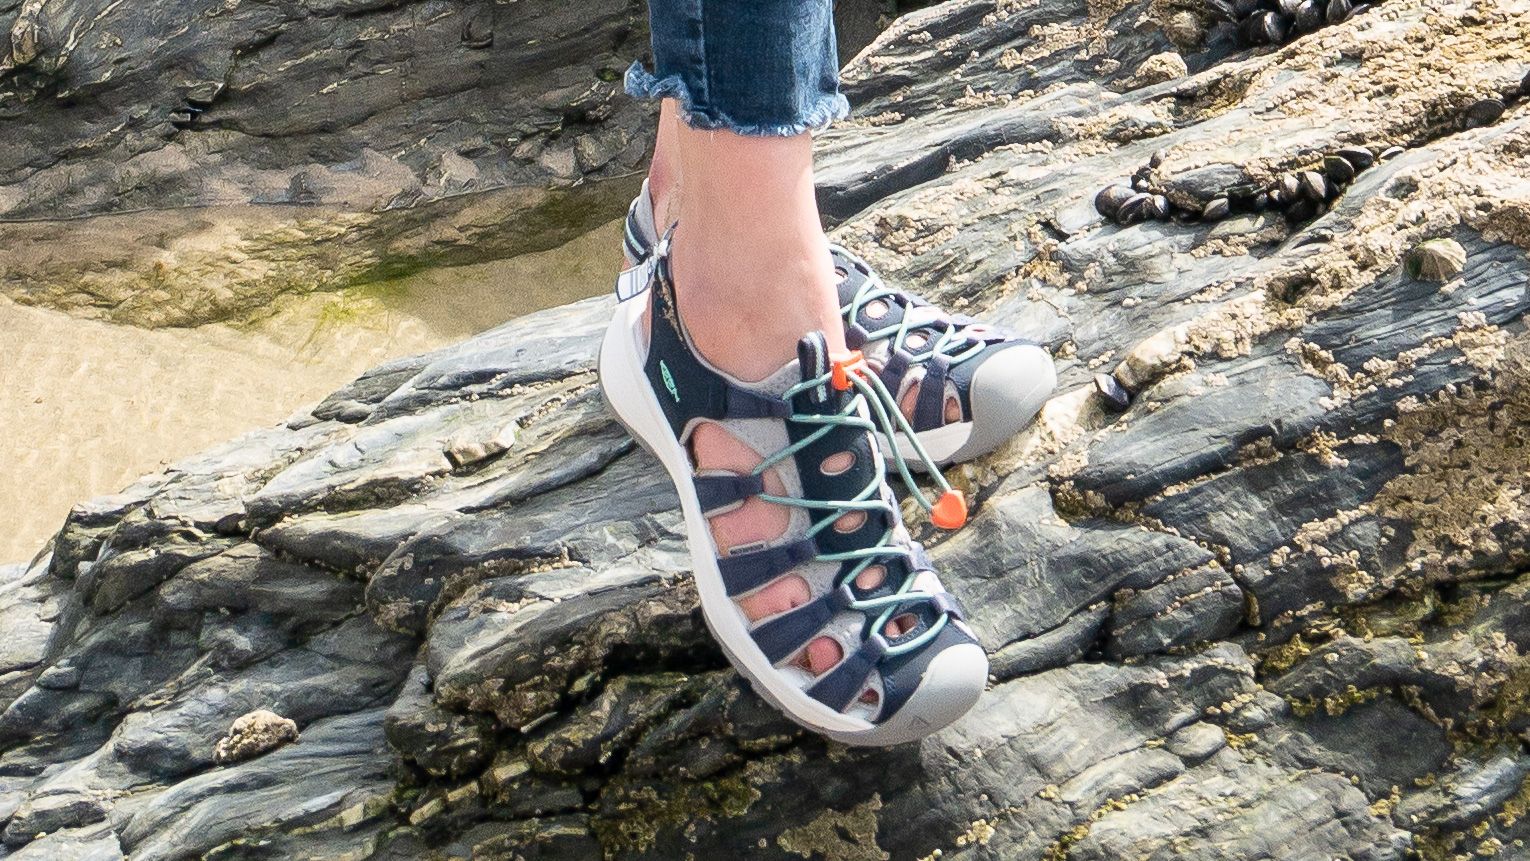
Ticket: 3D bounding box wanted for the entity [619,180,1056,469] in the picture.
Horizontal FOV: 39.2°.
[{"bbox_3d":[0.322,-0.255,10.606,2.540,1.015,0.865,20,62,4],"label":"entity"}]
